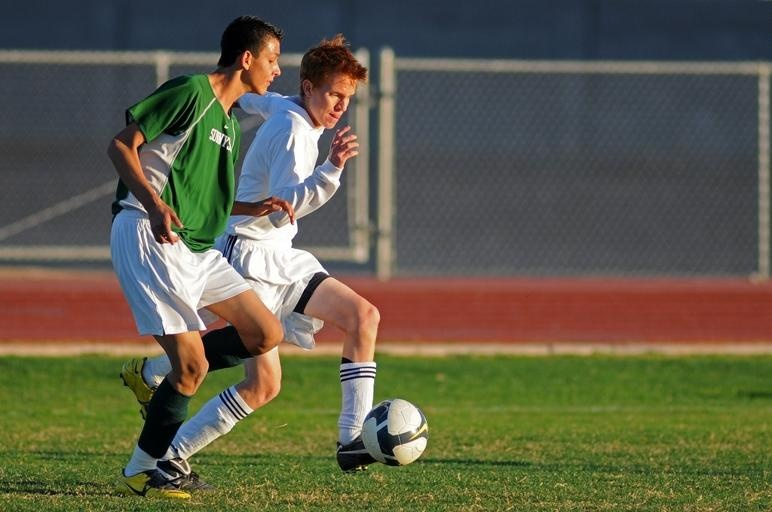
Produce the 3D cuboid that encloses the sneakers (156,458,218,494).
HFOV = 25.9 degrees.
[{"bbox_3d":[-1.898,2.114,16.250,0.553,0.233,0.260,22,2,-2],"label":"sneakers"}]

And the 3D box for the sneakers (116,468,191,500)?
[{"bbox_3d":[-2.229,2.222,16.246,0.693,0.291,0.271,6,-3,-4],"label":"sneakers"}]
